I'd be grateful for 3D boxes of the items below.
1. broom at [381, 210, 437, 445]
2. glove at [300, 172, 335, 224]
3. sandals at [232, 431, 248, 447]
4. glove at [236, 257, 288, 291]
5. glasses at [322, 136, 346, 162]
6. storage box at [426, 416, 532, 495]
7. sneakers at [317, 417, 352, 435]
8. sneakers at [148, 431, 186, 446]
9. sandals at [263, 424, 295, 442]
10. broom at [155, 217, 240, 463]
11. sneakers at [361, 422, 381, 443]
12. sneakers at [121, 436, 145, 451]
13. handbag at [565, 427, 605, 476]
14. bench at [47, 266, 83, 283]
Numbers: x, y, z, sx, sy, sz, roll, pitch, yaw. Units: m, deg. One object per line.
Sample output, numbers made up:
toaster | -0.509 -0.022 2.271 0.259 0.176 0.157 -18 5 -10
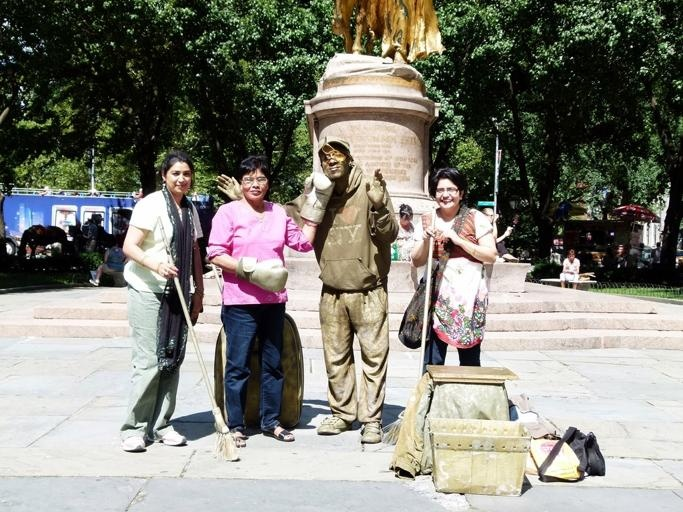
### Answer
broom | 0.665 0.717 7.588 0.436 2.287 0.605 2 2 7
glove | -0.255 -0.585 7.864 0.355 0.483 0.215 23 -3 -21
sandals | -0.989 1.780 7.461 0.197 0.083 0.073 4 -3 8
glove | -0.766 0.176 7.429 0.398 0.326 0.211 11 9 12
glasses | -0.073 -1.063 7.650 0.213 0.228 0.113 -3 16 10
storage box | 1.174 1.714 6.628 0.771 0.480 0.547 2 -9 3
sneakers | -0.071 1.749 7.889 0.138 0.153 0.382 -9 -15 40
sneakers | -1.688 1.743 7.489 0.305 0.128 0.156 0 -3 18
sandals | -0.618 1.763 7.731 0.351 0.138 0.133 5 7 36
broom | -1.457 0.893 7.711 0.364 0.471 2.798 -1 44 -38
sneakers | 0.293 1.757 7.664 0.205 0.182 0.205 2 2 2
sneakers | -1.976 1.770 7.267 0.241 0.142 0.139 2 2 -2
handbag | 2.199 1.757 6.982 0.299 0.417 0.173 -9 -21 -24
bench | -8.438 0.575 23.743 1.098 0.123 5.127 2 2 -19
